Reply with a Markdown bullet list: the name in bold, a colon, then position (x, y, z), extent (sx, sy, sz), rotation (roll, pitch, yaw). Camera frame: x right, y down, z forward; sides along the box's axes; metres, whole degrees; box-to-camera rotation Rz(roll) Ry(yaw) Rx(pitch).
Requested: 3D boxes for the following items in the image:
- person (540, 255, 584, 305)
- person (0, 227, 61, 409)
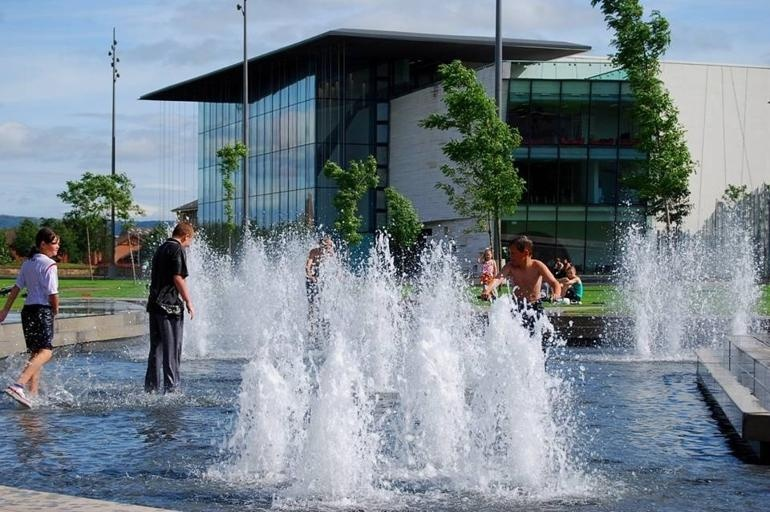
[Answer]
- **person**: position (6.222, 0.857, 46.622), extent (1.402, 2.093, 0.859), rotation (9, -17, -12)
- **person**: position (-8.574, 1.474, 32.721), extent (1.217, 4.344, 1.084), rotation (-1, -1, -16)
